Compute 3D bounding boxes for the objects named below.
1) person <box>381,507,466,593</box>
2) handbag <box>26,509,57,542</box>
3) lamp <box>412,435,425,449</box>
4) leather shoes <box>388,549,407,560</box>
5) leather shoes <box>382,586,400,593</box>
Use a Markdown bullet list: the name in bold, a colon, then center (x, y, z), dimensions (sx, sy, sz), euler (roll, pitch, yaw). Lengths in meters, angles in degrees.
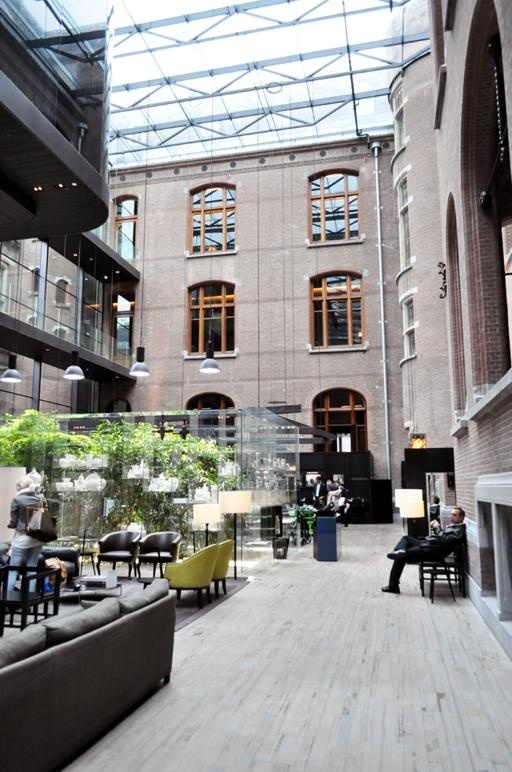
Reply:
- **person**: center (2.563, 2.495, 8.347), dimensions (1.084, 1.485, 0.679), euler (13, -4, 4)
- **handbag**: center (-2.495, 1.650, 6.459), dimensions (0.278, 0.408, 0.312), euler (-5, -16, 30)
- **lamp**: center (4.807, 1.634, 16.101), dimensions (0.336, 0.364, 0.349), euler (2, -10, -5)
- **leather shoes**: center (2.099, 2.492, 8.092), dimensions (0.238, 0.136, 0.318), euler (0, -14, 12)
- **leather shoes**: center (2.019, 3.046, 8.165), dimensions (0.267, 0.097, 0.304), euler (0, -14, 15)
